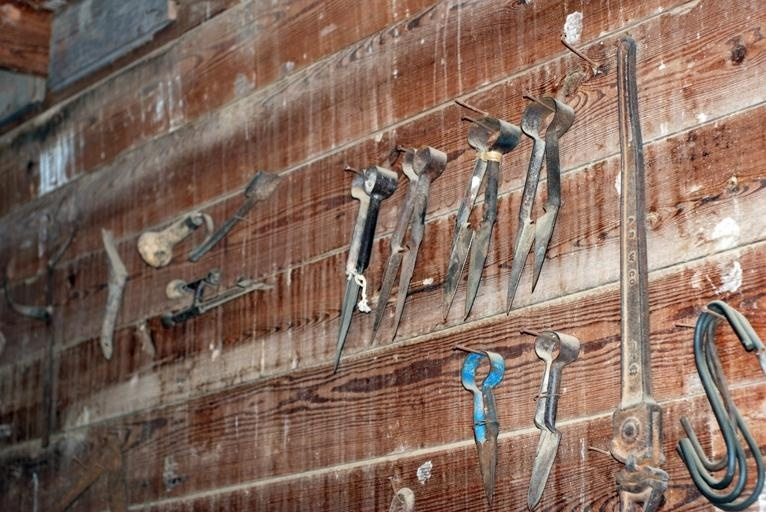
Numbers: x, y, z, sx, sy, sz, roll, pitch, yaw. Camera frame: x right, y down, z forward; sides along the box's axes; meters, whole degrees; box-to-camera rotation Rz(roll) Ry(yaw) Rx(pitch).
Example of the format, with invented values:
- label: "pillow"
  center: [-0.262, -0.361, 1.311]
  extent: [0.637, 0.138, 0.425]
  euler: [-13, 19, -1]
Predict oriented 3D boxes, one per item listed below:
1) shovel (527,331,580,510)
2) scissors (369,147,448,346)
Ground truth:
- label: "shovel"
  center: [0.558, 0.531, 8.201]
  extent: [0.141, 0.683, 0.122]
  euler: [10, -5, 28]
- label: "scissors"
  center: [0.098, -0.084, 8.593]
  extent: [0.215, 0.780, 0.178]
  euler: [15, 0, 34]
